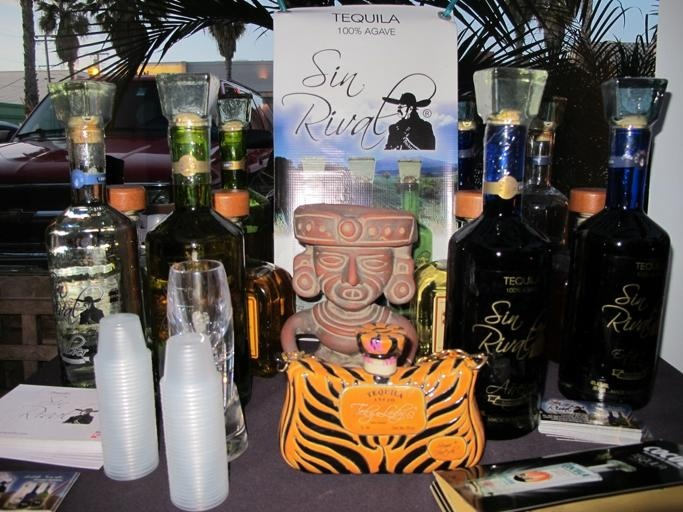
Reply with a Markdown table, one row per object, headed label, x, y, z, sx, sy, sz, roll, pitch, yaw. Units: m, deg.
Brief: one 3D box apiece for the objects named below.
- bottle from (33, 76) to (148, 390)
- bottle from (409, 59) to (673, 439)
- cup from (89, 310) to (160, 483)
| label | x | y | z | sx | sy | sz | roll | pitch | yaw |
| --- | --- | --- | --- | --- | --- | --- | --- | --- | --- |
| bottle | -0.400 | -0.030 | 0.989 | 0.149 | 0.505 | 0.129 | -3 | 9 | -23 |
| bottle | 0.232 | 0.002 | 0.895 | 0.162 | 0.545 | 0.098 | 1 | 8 | 1 |
| cup | -0.290 | 0.193 | 0.826 | 0.079 | 0.230 | 0.057 | -2 | 9 | -20 |
